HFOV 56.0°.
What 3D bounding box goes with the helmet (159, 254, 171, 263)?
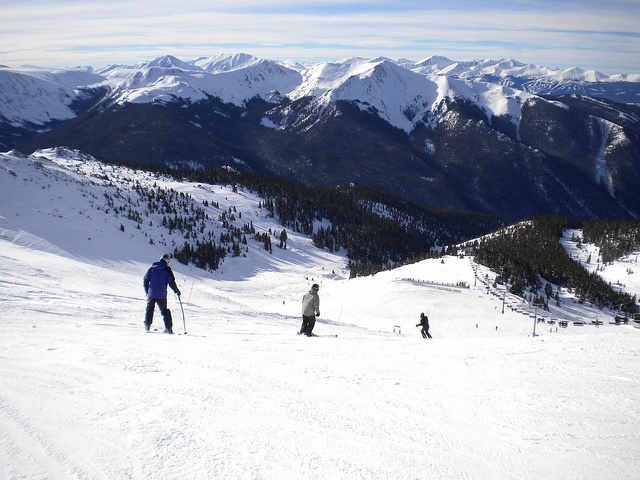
[{"bbox_3d":[-6.716,0.768,26.312,0.362,0.404,0.424,26,17,24],"label":"helmet"}]
